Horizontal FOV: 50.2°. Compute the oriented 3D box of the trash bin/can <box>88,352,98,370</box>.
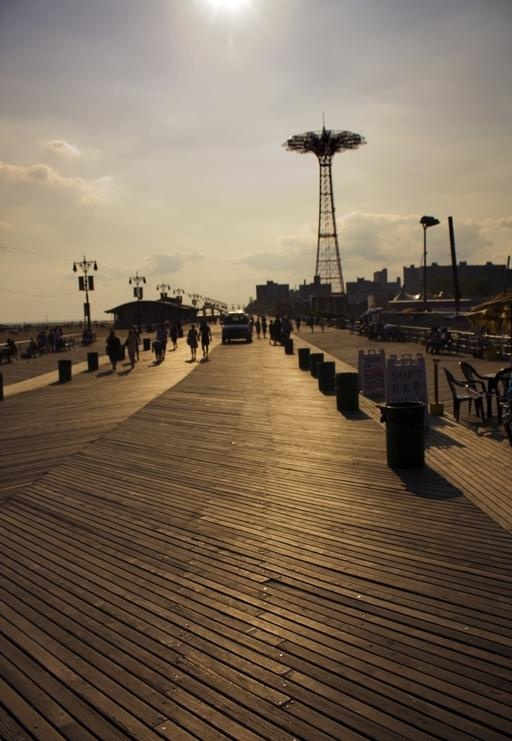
[{"bbox_3d":[-8.312,-0.423,27.684,0.480,0.855,1.212,-3,3,-13],"label":"trash bin/can"}]

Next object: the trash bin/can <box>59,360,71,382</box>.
[{"bbox_3d":[-8.049,0.053,22.867,0.472,0.906,0.642,-3,3,-21],"label":"trash bin/can"}]

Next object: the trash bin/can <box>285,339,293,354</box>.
[{"bbox_3d":[2.034,-1.444,33.611,0.494,0.862,1.061,-2,3,4],"label":"trash bin/can"}]

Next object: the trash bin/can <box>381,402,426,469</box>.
[{"bbox_3d":[2.250,1.010,8.283,0.831,0.919,0.557,-2,-3,0],"label":"trash bin/can"}]

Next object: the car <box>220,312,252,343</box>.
[{"bbox_3d":[-1.704,-3.607,47.006,2.492,2.645,3.122,-2,3,-3],"label":"car"}]
